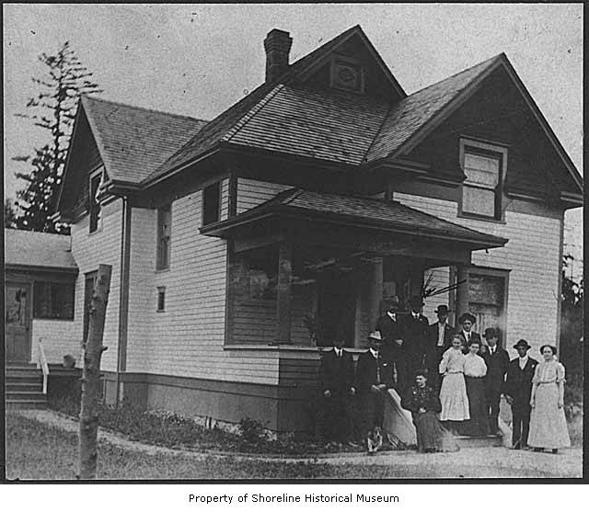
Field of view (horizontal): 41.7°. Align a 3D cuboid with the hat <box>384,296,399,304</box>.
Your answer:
[{"bbox_3d":[1.330,0.582,10.546,0.245,0.112,0.031,12,-12,-32],"label":"hat"}]
